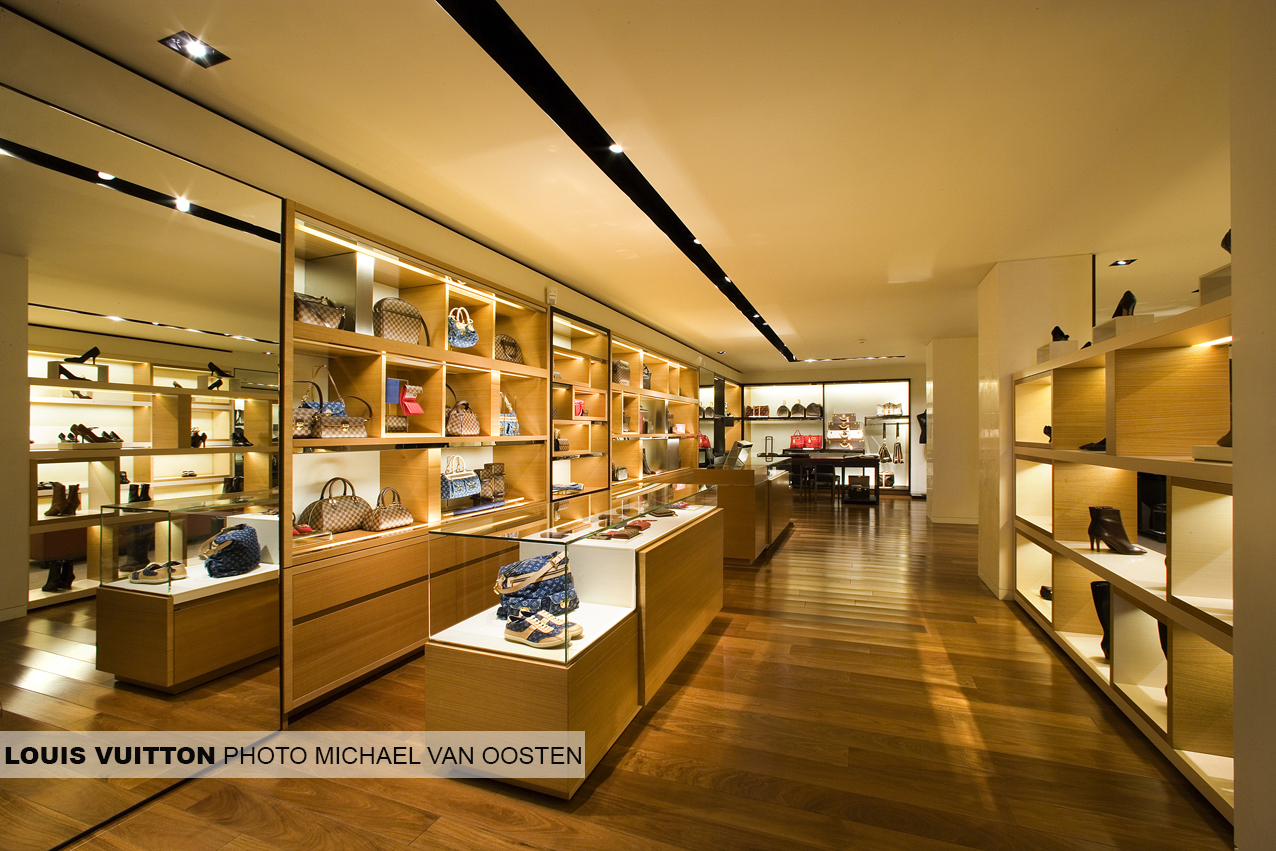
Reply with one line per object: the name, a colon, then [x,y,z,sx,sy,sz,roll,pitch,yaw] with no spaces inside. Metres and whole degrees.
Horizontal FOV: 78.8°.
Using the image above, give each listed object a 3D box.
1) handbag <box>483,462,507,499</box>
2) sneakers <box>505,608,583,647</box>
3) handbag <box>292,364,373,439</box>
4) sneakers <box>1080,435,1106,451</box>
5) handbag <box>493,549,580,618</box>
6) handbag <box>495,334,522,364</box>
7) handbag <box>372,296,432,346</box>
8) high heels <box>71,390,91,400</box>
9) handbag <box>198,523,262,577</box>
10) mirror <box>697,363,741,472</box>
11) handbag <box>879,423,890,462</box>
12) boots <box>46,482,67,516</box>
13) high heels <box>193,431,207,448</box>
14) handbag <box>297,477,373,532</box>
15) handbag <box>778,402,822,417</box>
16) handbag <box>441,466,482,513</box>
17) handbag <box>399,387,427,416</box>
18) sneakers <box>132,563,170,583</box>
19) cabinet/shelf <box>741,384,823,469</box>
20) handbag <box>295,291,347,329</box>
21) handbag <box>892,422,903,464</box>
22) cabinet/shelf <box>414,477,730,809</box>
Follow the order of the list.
handbag: [-1.254,0.470,6.612,0.100,0.262,0.300,-5,-6,22]
sneakers: [-0.523,1.058,4.057,0.281,0.096,0.198,0,-3,18]
handbag: [-1.947,-0.159,4.945,0.445,0.496,0.501,-2,0,-18]
sneakers: [2.933,0.102,5.000,0.117,0.128,0.346,1,1,22]
handbag: [-0.558,0.858,4.158,0.427,0.175,0.371,-5,5,-27]
handbag: [-1.128,-0.652,6.654,0.062,0.221,0.249,-6,-4,30]
handbag: [-1.672,-0.711,5.407,0.158,0.379,0.442,-1,-3,27]
high heels: [-2.755,-0.147,3.826,0.027,0.033,0.081,7,8,33]
handbag: [-2.311,0.710,4.396,0.228,0.238,0.284,0,-6,-4]
mirror: [1.177,-0.132,11.939,0.192,1.447,1.759,1,0,24]
handbag: [4.522,0.312,14.340,0.178,0.637,0.436,-2,0,17]
boots: [-2.854,0.361,3.792,0.079,0.186,0.030,-2,0,-39]
high heels: [-2.417,0.080,4.251,0.065,0.083,0.033,0,8,-33]
handbag: [-1.985,0.549,5.013,0.307,0.449,0.568,-5,-6,28]
handbag: [3.130,-0.281,15.155,0.880,0.267,0.179,-1,0,32]
handbag: [-1.403,0.506,6.029,0.151,0.311,0.347,-4,-3,21]
handbag: [-1.652,-0.165,5.559,0.152,0.202,0.064,5,-6,-37]
sneakers: [-2.607,0.790,4.152,0.139,0.043,0.091,-1,0,-5]
cabinet/shelf: [2.748,0.044,14.663,1.740,1.560,0.558,0,0,14]
handbag: [-1.976,-0.702,4.791,0.191,0.227,0.412,-2,0,-7]
handbag: [4.766,0.322,14.329,0.212,0.651,0.139,-2,0,19]
cabinet/shelf: [-0.299,1.154,4.664,0.766,1.600,1.856,-1,0,33]
